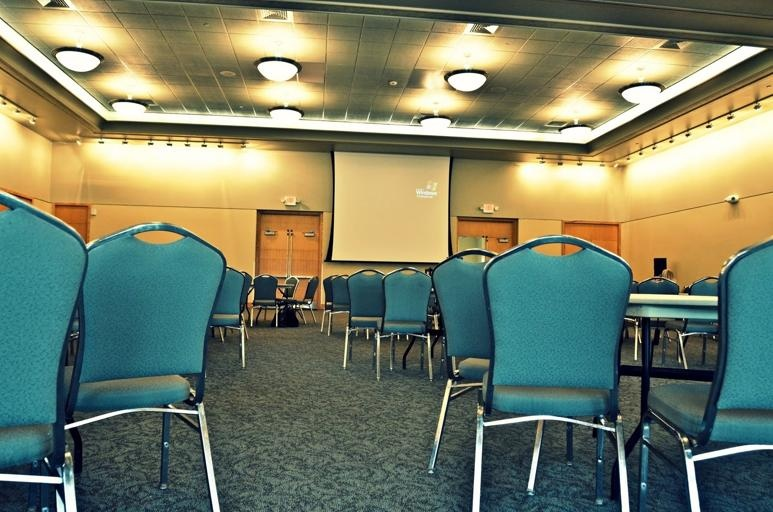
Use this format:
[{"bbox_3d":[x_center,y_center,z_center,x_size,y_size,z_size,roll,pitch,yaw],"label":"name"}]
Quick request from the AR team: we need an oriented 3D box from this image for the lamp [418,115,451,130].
[{"bbox_3d":[0.941,-2.668,10.921,0.593,0.220,0.401,2,-4,8],"label":"lamp"}]

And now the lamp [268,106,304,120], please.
[{"bbox_3d":[-1.922,-2.729,10.610,0.563,0.188,0.467,4,-4,-29],"label":"lamp"}]

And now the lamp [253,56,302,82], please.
[{"bbox_3d":[-1.660,-2.801,8.359,0.507,0.133,0.476,-3,-5,27],"label":"lamp"}]

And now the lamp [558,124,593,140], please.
[{"bbox_3d":[3.966,-2.641,11.832,0.503,0.087,0.441,0,-5,5],"label":"lamp"}]

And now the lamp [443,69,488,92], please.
[{"bbox_3d":[1.215,-2.748,8.741,0.486,0.136,0.469,2,-4,-42],"label":"lamp"}]

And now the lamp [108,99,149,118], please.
[{"bbox_3d":[-4.697,-2.746,10.202,0.568,0.163,0.478,2,-4,-5],"label":"lamp"}]

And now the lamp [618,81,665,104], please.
[{"bbox_3d":[4.187,-2.777,9.165,0.537,0.343,0.563,6,-5,-44],"label":"lamp"}]

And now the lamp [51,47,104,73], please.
[{"bbox_3d":[-4.424,-2.849,8.148,0.509,0.138,0.457,-3,-6,15],"label":"lamp"}]
